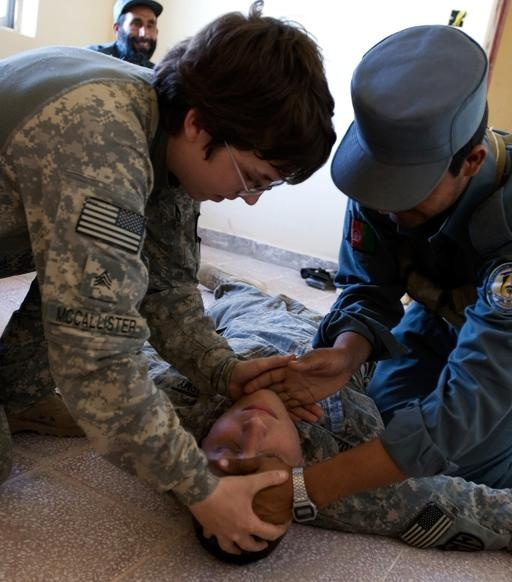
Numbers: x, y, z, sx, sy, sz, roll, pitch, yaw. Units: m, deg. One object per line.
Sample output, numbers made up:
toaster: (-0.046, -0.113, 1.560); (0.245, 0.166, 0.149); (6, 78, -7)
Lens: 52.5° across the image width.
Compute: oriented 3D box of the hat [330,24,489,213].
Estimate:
hat: (0.331, -0.392, 1.115); (0.307, 0.420, 0.156); (34, -8, 32)

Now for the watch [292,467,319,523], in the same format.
watch: (0.098, 0.425, 1.093); (0.064, 0.097, 0.104); (-11, -9, 8)

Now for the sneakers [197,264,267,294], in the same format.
sneakers: (-0.149, -0.052, 2.806); (0.440, 0.099, 0.153); (12, 20, 18)

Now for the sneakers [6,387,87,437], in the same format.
sneakers: (-0.541, 0.330, 1.421); (0.264, 0.097, 0.092); (-1, 20, -5)

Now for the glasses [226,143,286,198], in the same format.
glasses: (-0.006, -0.234, 1.034); (0.029, 0.092, 0.095); (-22, 2, 39)
